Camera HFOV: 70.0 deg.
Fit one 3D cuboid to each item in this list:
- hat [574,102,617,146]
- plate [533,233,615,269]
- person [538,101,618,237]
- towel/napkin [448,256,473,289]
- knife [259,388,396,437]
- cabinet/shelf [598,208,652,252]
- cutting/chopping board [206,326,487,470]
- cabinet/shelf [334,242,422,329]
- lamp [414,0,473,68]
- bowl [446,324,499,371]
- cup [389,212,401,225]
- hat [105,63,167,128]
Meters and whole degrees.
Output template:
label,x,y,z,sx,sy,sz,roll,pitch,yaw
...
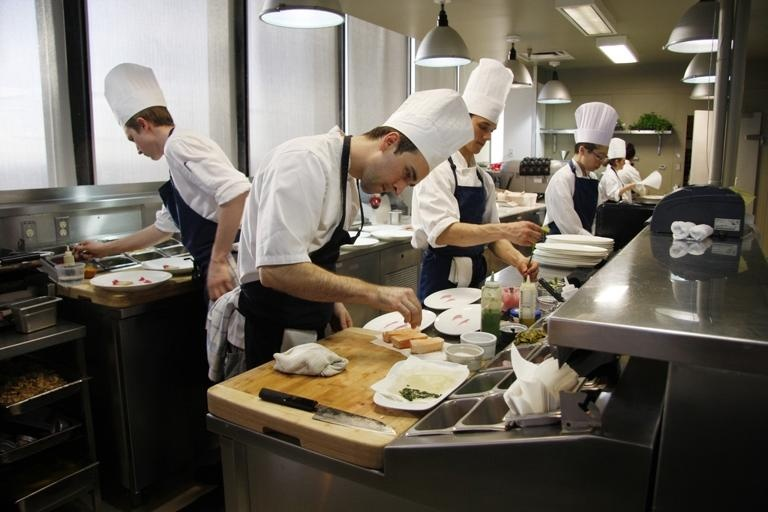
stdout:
label,x,y,z,sx,sy,sz,roll,pitch,yaw
hat,1.772,-1.052,4.490,0.337,0.279,0.365,10,8,36
plate,1.149,-0.024,3.326,0.336,0.123,0.340,0,10,9
person,1.547,-0.643,4.328,0.479,1.082,0.846,3,14,22
towel/napkin,0.435,0.093,3.169,0.179,0.178,0.069,-1,4,-41
knife,-0.192,0.497,1.771,0.490,0.074,0.078,3,14,23
cabinet/shelf,1.743,-0.243,3.913,0.281,0.360,0.537,6,10,36
cutting/chopping board,-0.236,0.492,1.832,0.459,0.071,0.489,8,14,29
cabinet/shelf,-0.057,0.159,3.206,0.224,0.599,0.638,-1,2,34
lamp,0.492,-1.695,4.517,0.556,0.622,0.585,-1,12,10
bowl,0.343,0.349,2.080,0.106,0.058,0.179,12,11,32
cup,0.111,-0.364,5.412,0.116,0.121,0.116,2,5,0
hat,-1.367,-0.896,3.156,0.358,0.289,0.325,-14,-5,-29
